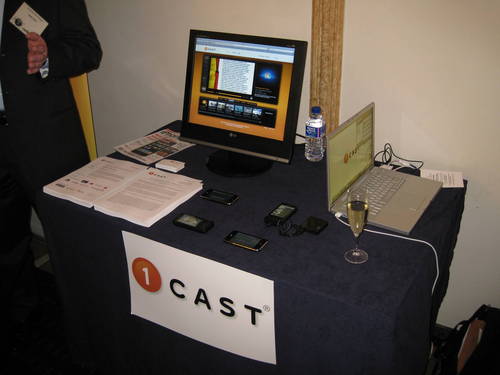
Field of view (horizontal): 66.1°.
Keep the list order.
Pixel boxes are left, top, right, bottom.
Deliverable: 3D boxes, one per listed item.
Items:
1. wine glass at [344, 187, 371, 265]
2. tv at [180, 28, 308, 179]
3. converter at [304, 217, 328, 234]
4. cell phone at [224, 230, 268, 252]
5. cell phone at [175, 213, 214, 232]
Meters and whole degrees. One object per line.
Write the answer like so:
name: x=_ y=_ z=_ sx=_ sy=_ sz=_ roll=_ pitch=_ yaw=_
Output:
wine glass: x=0.408 y=0.129 z=1.443 sx=0.116 sy=0.238 sz=0.221 roll=11 pitch=24 yaw=14
tv: x=-0.031 y=-0.391 z=1.862 sx=0.579 sy=0.583 sz=0.356 roll=13 pitch=41 yaw=15
converter: x=0.262 y=0.155 z=1.563 sx=0.089 sy=0.035 sz=0.082 roll=18 pitch=27 yaw=24
cell phone: x=-0.018 y=0.207 z=1.504 sx=0.125 sy=0.013 sz=0.074 roll=15 pitch=32 yaw=23
cell phone: x=-0.236 y=0.143 z=1.591 sx=0.130 sy=0.027 sz=0.069 roll=16 pitch=32 yaw=24
